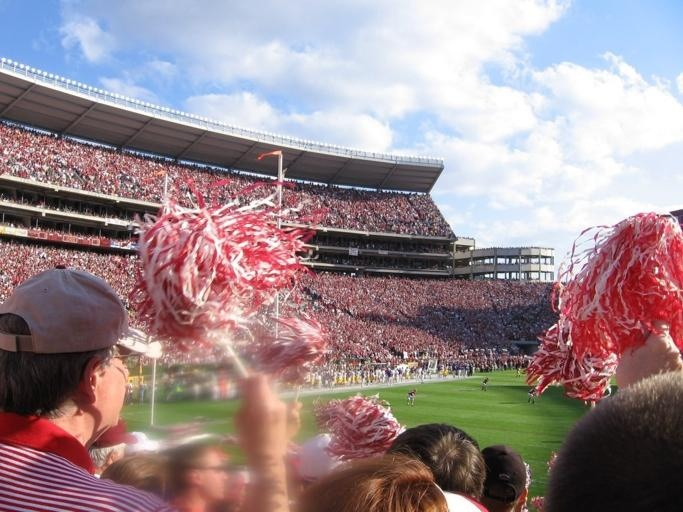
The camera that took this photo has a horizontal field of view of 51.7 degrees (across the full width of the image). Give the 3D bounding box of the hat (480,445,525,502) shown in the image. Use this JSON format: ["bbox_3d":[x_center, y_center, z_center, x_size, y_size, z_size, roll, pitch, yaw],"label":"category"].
[{"bbox_3d":[0.862,1.149,3.746,0.233,0.267,0.401,-9,-11,11],"label":"hat"}]

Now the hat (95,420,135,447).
[{"bbox_3d":[-1.290,1.014,4.041,0.152,0.140,0.391,-7,-11,0],"label":"hat"}]
